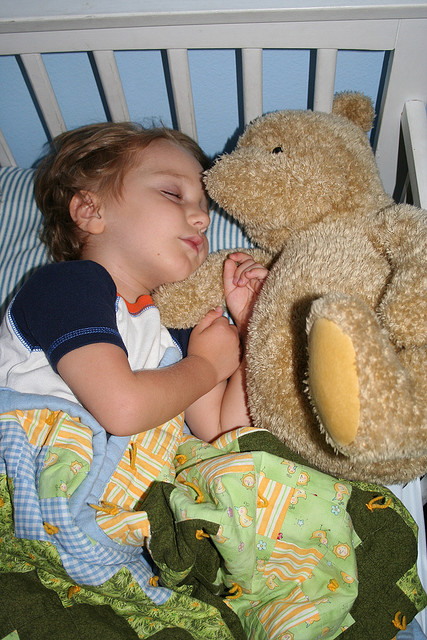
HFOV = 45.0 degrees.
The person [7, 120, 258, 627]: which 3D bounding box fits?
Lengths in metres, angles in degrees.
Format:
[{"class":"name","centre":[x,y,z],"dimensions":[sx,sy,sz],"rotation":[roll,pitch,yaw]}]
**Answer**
[{"class":"person","centre":[-0.213,0.097,1.027],"dimensions":[0.513,0.308,0.828],"rotation":[11,57,-26]}]
